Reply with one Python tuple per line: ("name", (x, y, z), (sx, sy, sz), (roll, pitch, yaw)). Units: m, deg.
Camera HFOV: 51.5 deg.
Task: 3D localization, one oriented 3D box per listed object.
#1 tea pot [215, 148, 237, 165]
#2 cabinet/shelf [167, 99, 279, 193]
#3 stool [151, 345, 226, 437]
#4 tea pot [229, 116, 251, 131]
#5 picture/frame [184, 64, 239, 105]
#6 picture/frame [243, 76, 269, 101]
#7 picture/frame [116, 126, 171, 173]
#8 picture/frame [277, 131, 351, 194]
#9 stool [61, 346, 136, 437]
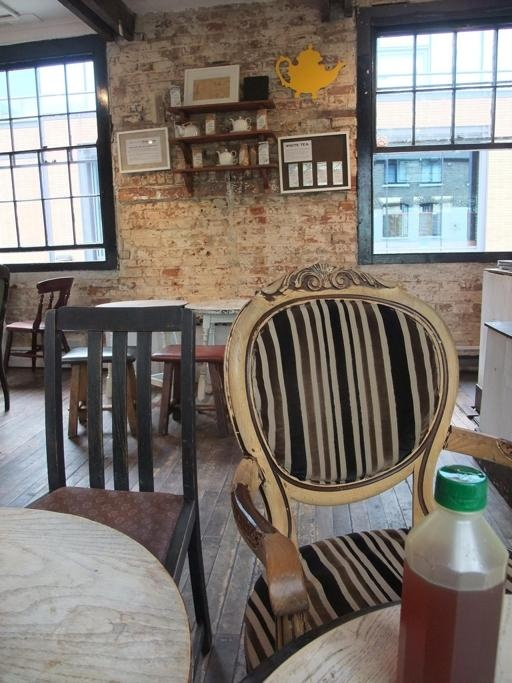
("tea pot", (-0.213, -1.378, 3.942), (0.168, 0.132, 0.107), (-13, 20, -38))
("cabinet/shelf", (-0.214, -1.479, 3.962), (0.716, 0.546, 0.213), (1, 10, 12))
("stool", (-0.341, 0.225, 2.889), (0.479, 0.529, 0.495), (0, 8, -1))
("tea pot", (-0.105, -1.594, 3.873), (0.186, 0.146, 0.116), (0, 13, 1))
("picture/frame", (-0.308, -1.876, 3.889), (0.379, 0.241, 0.028), (3, 11, 11))
("picture/frame", (-0.007, -1.821, 3.824), (0.203, 0.190, 0.130), (3, 9, 13))
("picture/frame", (-0.868, -1.520, 4.199), (0.373, 0.284, 0.027), (-1, 4, 9))
("picture/frame", (0.439, -1.329, 3.894), (0.445, 0.358, 0.020), (-1, 9, 12))
("stool", (-0.831, 0.258, 2.864), (0.308, 0.431, 0.335), (-3, 2, -13))
